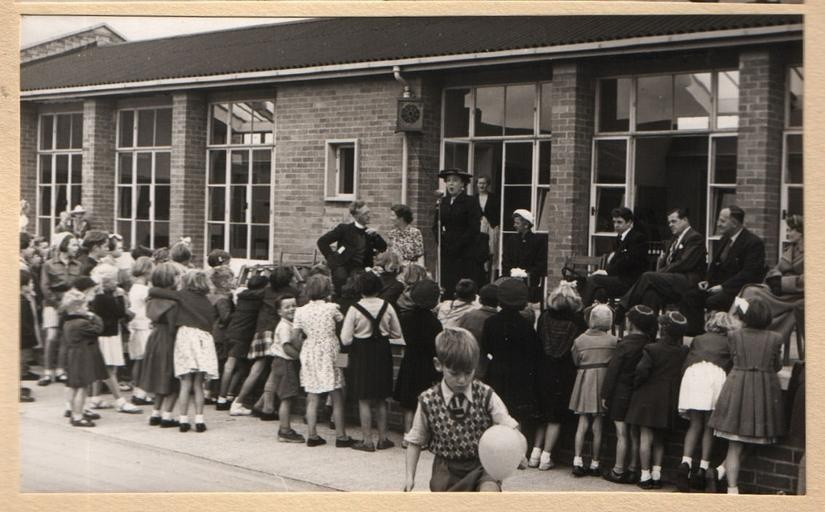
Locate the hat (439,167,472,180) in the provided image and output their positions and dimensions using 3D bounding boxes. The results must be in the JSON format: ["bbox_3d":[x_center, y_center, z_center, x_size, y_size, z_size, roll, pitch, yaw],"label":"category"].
[{"bbox_3d":[0.625,-1.199,17.654,0.393,0.081,0.352,5,-5,-17],"label":"hat"}]

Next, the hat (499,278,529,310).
[{"bbox_3d":[1.190,0.473,14.432,0.367,0.408,0.215,-2,12,3],"label":"hat"}]

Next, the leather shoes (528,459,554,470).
[{"bbox_3d":[1.553,2.511,14.473,0.345,0.116,0.115,1,2,-28],"label":"leather shoes"}]

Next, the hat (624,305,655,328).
[{"bbox_3d":[2.700,0.720,14.250,0.303,0.258,0.252,-1,11,8],"label":"hat"}]

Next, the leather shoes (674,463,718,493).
[{"bbox_3d":[3.214,2.552,13.677,0.217,0.208,0.584,-2,-4,38],"label":"leather shoes"}]
